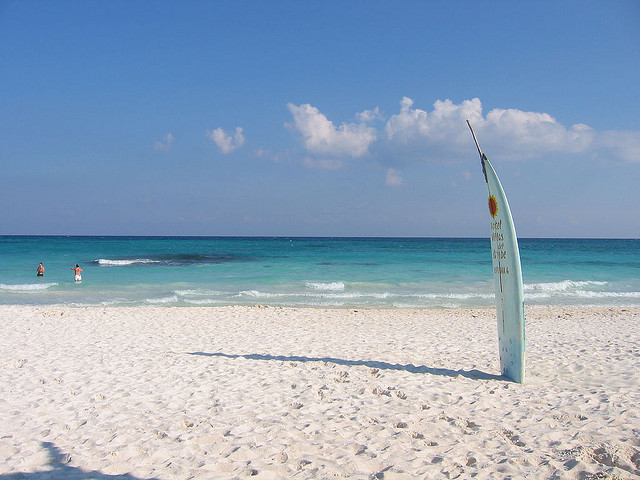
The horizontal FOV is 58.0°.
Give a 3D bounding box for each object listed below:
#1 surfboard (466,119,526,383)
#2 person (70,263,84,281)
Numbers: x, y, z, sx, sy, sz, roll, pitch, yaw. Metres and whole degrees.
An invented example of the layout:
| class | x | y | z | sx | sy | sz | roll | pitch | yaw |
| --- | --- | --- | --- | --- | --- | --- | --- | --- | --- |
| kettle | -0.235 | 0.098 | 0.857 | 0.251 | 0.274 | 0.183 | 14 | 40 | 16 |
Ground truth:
| class | x | y | z | sx | sy | sz | roll | pitch | yaw |
| --- | --- | --- | --- | --- | --- | --- | --- | --- | --- |
| surfboard | 3.937 | 0.661 | 12.300 | 0.501 | 4.741 | 1.293 | -5 | 13 | -21 |
| person | -14.132 | 1.942 | 33.681 | 0.720 | 1.120 | 0.342 | 7 | -44 | -28 |
